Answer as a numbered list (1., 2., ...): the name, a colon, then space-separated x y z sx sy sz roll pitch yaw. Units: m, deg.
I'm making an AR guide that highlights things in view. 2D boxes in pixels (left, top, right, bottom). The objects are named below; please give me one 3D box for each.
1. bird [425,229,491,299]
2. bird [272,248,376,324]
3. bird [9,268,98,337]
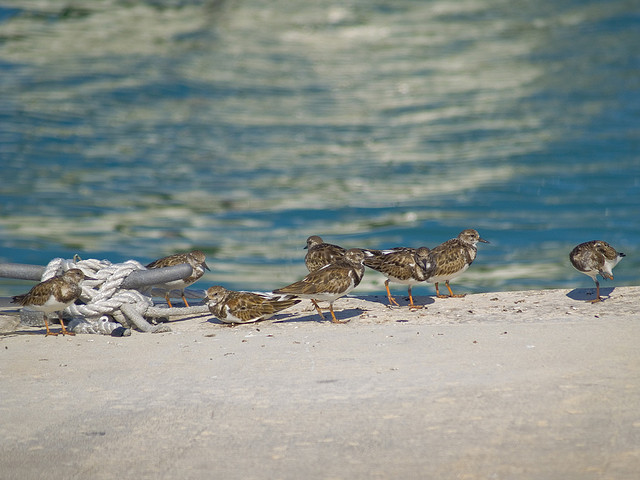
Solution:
1. bird: 2.570 0.308 15.751 0.635 1.247 1.230 -3 -1 34
2. bird: 0.185 0.728 14.167 1.247 1.202 0.809 -1 -1 -45
3. bird: -4.461 1.053 13.598 0.960 1.076 0.749 -2 0 39
